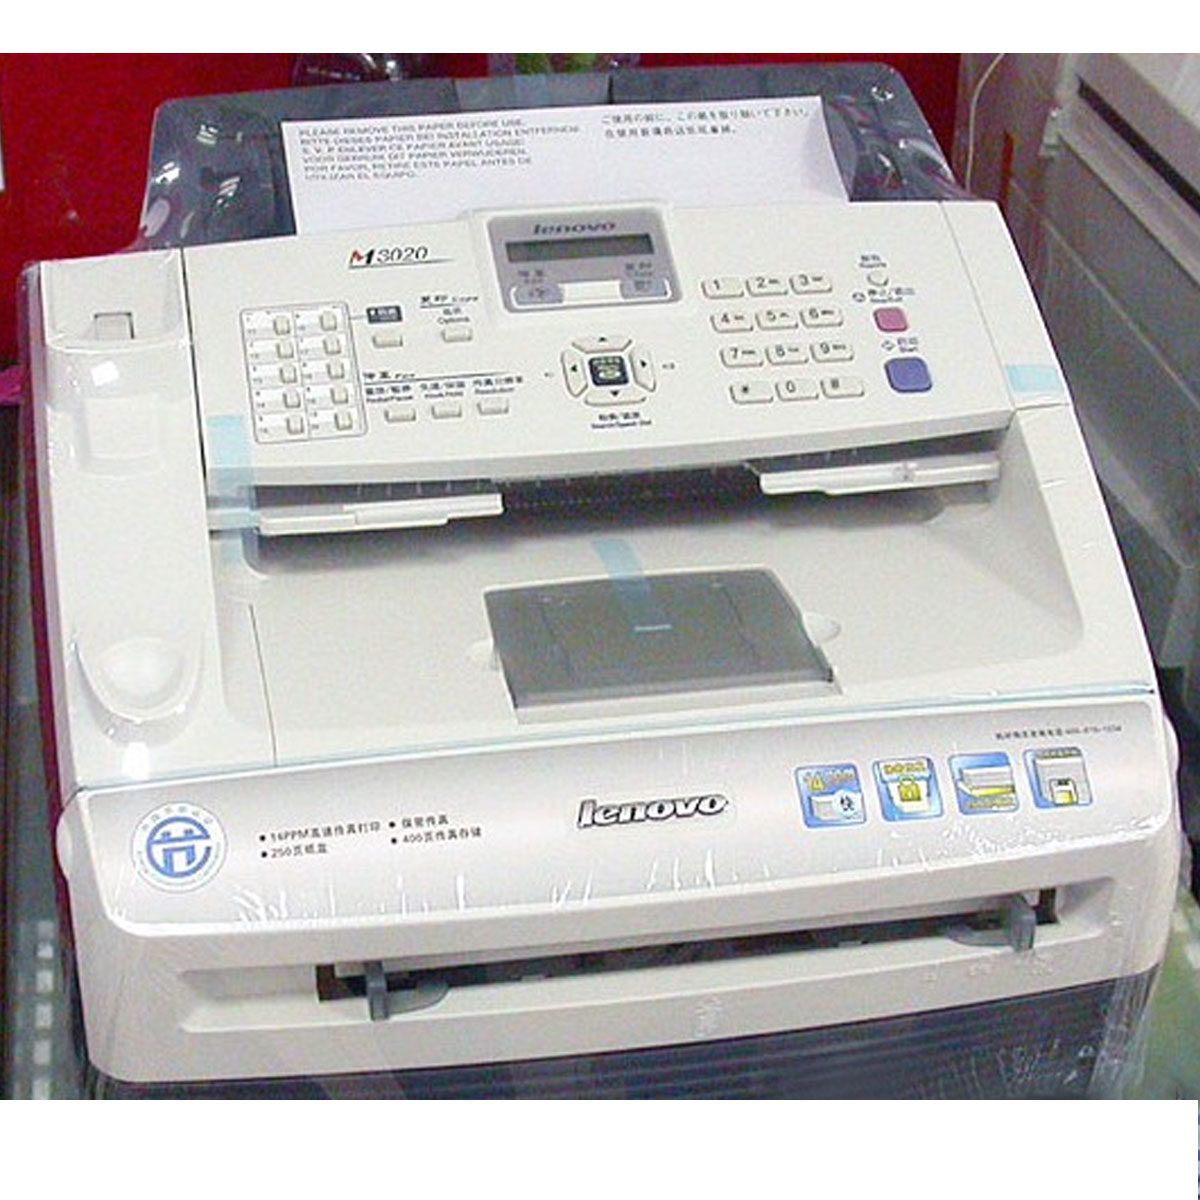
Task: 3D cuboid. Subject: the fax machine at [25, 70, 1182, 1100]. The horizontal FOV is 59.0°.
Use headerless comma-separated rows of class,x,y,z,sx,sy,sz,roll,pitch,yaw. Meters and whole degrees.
fax machine,0.008,-0.003,0.755,0.701,0.381,0.648,-19,56,-16
